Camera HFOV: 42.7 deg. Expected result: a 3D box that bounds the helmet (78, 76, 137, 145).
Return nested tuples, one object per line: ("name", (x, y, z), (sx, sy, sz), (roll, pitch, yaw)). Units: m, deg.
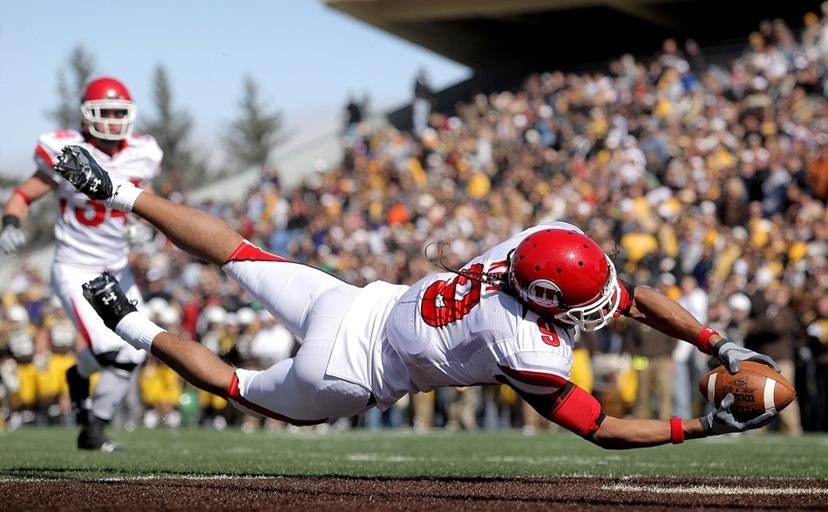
("helmet", (-2.966, -1.454, 10.254), (0.516, 0.648, 0.385), (-6, 1, -17))
